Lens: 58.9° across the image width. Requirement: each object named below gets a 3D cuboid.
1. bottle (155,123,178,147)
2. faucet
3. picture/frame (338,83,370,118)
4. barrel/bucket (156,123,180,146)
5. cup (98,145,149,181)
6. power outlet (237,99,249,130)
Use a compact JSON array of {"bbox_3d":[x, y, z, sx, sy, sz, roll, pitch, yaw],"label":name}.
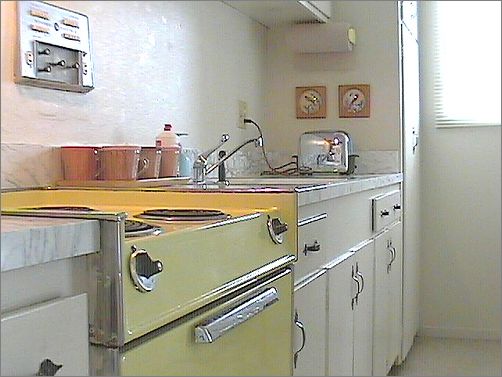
[{"bbox_3d":[-0.316,-0.205,1.762,0.086,0.102,0.086,2,2,45],"label":"bottle"},{"bbox_3d":[-0.129,-0.140,2.000,0.272,0.191,0.778,-2,6,-8],"label":"faucet"},{"bbox_3d":[0.695,-0.586,2.946,0.209,0.231,0.024,1,2,15],"label":"picture/frame"},{"bbox_3d":[-0.327,-0.205,1.741,0.080,0.096,0.083,0,2,0],"label":"barrel/bucket"},{"bbox_3d":[-0.441,-0.086,1.515,0.121,0.100,0.101,0,-3,7],"label":"cup"},{"bbox_3d":[-0.053,-0.452,2.712,0.018,0.194,0.185,2,5,20],"label":"power outlet"}]
